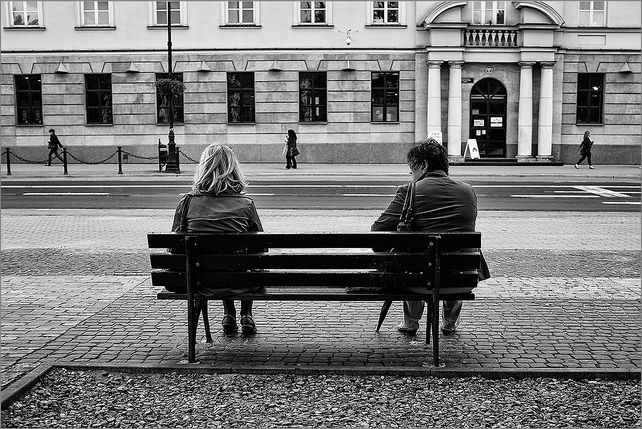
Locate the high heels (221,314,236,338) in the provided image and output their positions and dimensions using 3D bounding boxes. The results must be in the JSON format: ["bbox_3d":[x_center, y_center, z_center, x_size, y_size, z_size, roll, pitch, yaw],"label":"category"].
[{"bbox_3d":[-1.719,2.110,18.640,0.208,0.185,0.443,1,6,-1],"label":"high heels"}]

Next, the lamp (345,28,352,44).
[{"bbox_3d":[1.231,-7.922,44.115,0.250,0.693,0.450,0,11,1],"label":"lamp"}]

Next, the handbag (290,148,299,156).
[{"bbox_3d":[-1.068,-2.536,40.392,0.380,0.303,0.452,-3,-2,6],"label":"handbag"}]

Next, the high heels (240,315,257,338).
[{"bbox_3d":[-1.340,2.122,18.521,0.213,0.209,0.503,0,9,-2],"label":"high heels"}]
